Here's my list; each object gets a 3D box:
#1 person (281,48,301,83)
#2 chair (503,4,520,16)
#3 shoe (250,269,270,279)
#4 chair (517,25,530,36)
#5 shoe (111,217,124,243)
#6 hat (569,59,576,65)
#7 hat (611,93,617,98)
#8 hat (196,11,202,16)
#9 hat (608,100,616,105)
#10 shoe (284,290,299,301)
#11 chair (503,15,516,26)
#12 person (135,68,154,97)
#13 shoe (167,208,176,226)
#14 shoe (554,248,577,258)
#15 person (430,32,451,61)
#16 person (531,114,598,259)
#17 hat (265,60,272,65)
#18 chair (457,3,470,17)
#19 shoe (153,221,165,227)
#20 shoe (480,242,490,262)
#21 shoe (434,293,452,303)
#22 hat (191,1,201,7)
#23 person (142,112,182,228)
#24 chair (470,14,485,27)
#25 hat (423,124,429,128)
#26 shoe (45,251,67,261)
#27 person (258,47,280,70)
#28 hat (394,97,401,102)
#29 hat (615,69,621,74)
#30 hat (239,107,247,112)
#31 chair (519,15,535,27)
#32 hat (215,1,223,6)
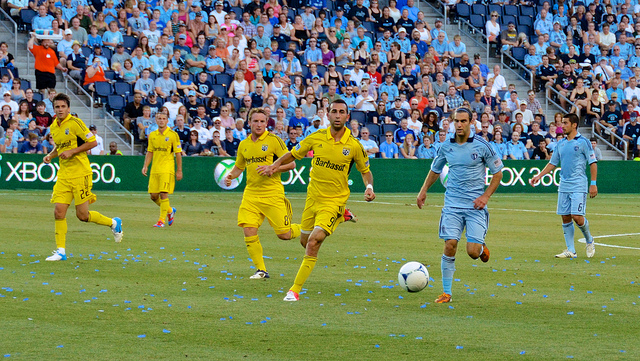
[{"bbox_3d":[-1.195,-4.748,43.030,0.825,1.380,0.546,2,4,-10],"label":"person"},{"bbox_3d":[8.902,-7.873,48.585,0.873,0.502,0.275,0,4,-30],"label":"chair"},{"bbox_3d":[-1.553,2.399,27.186,0.530,0.187,0.173,-1,-3,-2],"label":"shoe"},{"bbox_3d":[9.414,-6.879,48.228,0.535,0.578,0.530,3,10,7],"label":"chair"},{"bbox_3d":[-5.751,1.370,29.703,0.274,0.681,0.583,2,4,-11],"label":"shoe"},{"bbox_3d":[11.259,-5.283,46.581,0.353,0.213,0.172,1,4,-17],"label":"hat"},{"bbox_3d":[12.838,-3.724,45.685,0.255,0.150,0.225,1,-5,-1],"label":"hat"},{"bbox_3d":[-4.960,-6.803,42.762,0.181,0.196,0.258,2,3,-5],"label":"hat"},{"bbox_3d":[12.650,-3.382,45.301,0.316,0.180,0.543,3,3,11],"label":"hat"},{"bbox_3d":[-0.698,2.832,26.090,0.245,0.192,0.406,-1,-8,6],"label":"shoe"},{"bbox_3d":[8.751,-7.372,48.262,0.591,0.518,0.476,3,4,8],"label":"chair"},{"bbox_3d":[-6.734,-3.741,40.220,0.688,1.045,0.439,-1,5,-40],"label":"person"},{"bbox_3d":[-4.571,1.083,32.075,0.202,0.499,0.390,2,4,-7],"label":"shoe"},{"bbox_3d":[6.925,2.011,29.295,0.674,0.237,0.208,3,-2,1],"label":"shoe"},{"bbox_3d":[5.312,-5.867,45.809,0.863,1.170,0.537,2,4,-1],"label":"person"},{"bbox_3d":[7.159,0.123,29.609,1.497,3.986,1.111,3,4,12],"label":"person"},{"bbox_3d":[-2.067,-4.803,42.530,0.386,0.184,0.143,-1,5,-37],"label":"hat"},{"bbox_3d":[6.568,-7.749,47.796,0.653,0.571,0.749,1,12,-7],"label":"chair"},{"bbox_3d":[-4.909,1.274,31.773,0.352,0.160,0.217,2,3,8],"label":"shoe"},{"bbox_3d":[4.235,1.816,26.913,0.211,0.532,0.226,-2,-15,8],"label":"shoe"},{"bbox_3d":[3.076,2.891,26.065,0.440,0.155,0.174,2,-5,-22],"label":"shoe"},{"bbox_3d":[-5.180,-7.370,43.738,0.440,0.215,0.274,1,4,-16],"label":"hat"},{"bbox_3d":[-4.896,-0.389,32.301,1.141,3.424,1.465,2,4,-9],"label":"person"},{"bbox_3d":[7.209,-7.227,47.877,0.578,0.655,0.543,5,46,5],"label":"chair"},{"bbox_3d":[4.264,-2.205,42.003,0.227,0.123,0.215,2,3,2],"label":"hat"},{"bbox_3d":[-7.065,1.977,28.008,0.569,0.242,0.208,1,4,-12],"label":"shoe"},{"bbox_3d":[-2.084,-4.945,42.640,1.204,0.693,0.538,0,-8,-25],"label":"person"},{"bbox_3d":[3.161,-3.283,42.480,0.249,0.188,0.350,3,3,7],"label":"hat"},{"bbox_3d":[13.196,-4.836,46.257,0.272,0.158,0.243,2,-16,-4],"label":"hat"},{"bbox_3d":[-2.975,-2.757,40.645,0.258,0.161,0.301,-1,-1,1],"label":"hat"},{"bbox_3d":[9.630,-7.391,48.657,0.661,0.699,0.646,5,14,11],"label":"chair"},{"bbox_3d":[-4.217,-7.344,43.627,0.302,0.195,0.317,1,3,-13],"label":"hat"}]
